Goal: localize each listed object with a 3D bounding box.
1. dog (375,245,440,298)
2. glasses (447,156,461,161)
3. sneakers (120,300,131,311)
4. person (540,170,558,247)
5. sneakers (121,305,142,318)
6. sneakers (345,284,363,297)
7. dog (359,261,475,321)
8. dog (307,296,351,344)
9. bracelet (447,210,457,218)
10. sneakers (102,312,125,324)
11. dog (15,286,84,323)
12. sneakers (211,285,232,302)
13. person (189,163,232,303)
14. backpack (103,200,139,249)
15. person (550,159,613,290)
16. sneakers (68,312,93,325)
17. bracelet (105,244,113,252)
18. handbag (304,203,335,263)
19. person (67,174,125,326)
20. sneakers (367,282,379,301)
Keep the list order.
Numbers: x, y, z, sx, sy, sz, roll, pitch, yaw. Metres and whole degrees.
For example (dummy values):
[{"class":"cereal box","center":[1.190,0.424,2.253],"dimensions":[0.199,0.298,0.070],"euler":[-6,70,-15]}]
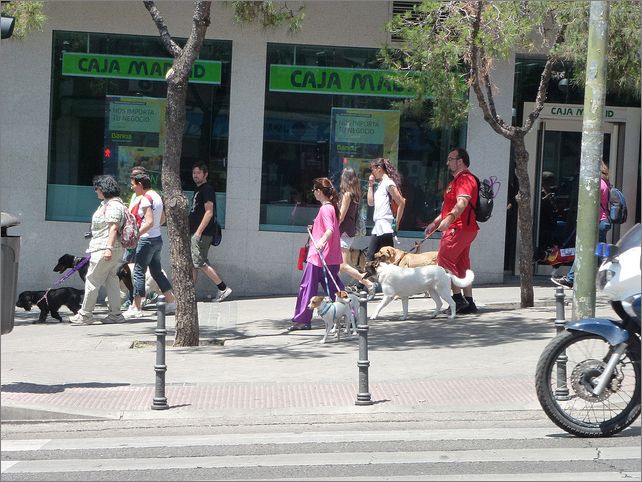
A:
[{"class":"dog","center":[1.374,0.336,14.994],"dimensions":[1.092,0.549,0.391],"euler":[2,2,-1]},{"class":"glasses","center":[2.059,-1.260,14.537],"dimensions":[0.154,0.049,0.157],"euler":[2,4,2]},{"class":"sneakers","center":[-3.299,1.100,16.020],"dimensions":[0.119,0.093,0.155],"euler":[0,12,0]},{"class":"person","center":[4.567,-0.644,18.959],"dimensions":[0.342,1.552,0.299],"euler":[-1,2,19]},{"class":"sneakers","center":[-3.069,1.186,15.415],"dimensions":[0.358,0.177,0.135],"euler":[1,2,2]},{"class":"sneakers","center":[0.568,0.861,16.375],"dimensions":[0.139,0.189,0.435],"euler":[2,5,13]},{"class":"dog","center":[1.471,0.741,14.406],"dimensions":[1.660,0.956,0.479],"euler":[0,8,8]},{"class":"dog","center":[0.185,1.088,13.493],"dimensions":[0.333,0.720,0.807],"euler":[9,14,41]},{"class":"bracelet","center":[2.012,-0.393,14.357],"dimensions":[0.160,0.135,0.239],"euler":[0,11,4]},{"class":"sneakers","center":[-3.301,1.241,15.069],"dimensions":[0.386,0.199,0.143],"euler":[0,5,-9]},{"class":"dog","center":[-4.282,1.033,15.274],"dimensions":[1.229,0.560,0.278],"euler":[-8,10,-15]},{"class":"sneakers","center":[-1.744,0.959,16.764],"dimensions":[0.208,0.445,0.175],"euler":[33,44,-13]},{"class":"person","center":[-1.929,-0.071,16.326],"dimensions":[0.652,2.477,0.665],"euler":[-3,11,-9]},{"class":"backpack","center":[-3.158,-0.290,14.883],"dimensions":[0.671,0.677,0.418],"euler":[13,22,15]},{"class":"person","center":[3.898,-0.194,14.186],"dimensions":[0.697,0.823,2.248],"euler":[18,35,20]},{"class":"sneakers","center":[-3.824,1.235,14.999],"dimensions":[0.333,0.249,0.172],"euler":[6,2,9]},{"class":"bracelet","center":[-3.246,0.121,14.494],"dimensions":[0.115,0.082,0.092],"euler":[-3,11,-14]},{"class":"handbag","center":[0.061,-0.114,13.928],"dimensions":[0.472,0.903,0.789],"euler":[4,7,0]},{"class":"person","center":[-3.433,0.168,14.825],"dimensions":[0.755,2.318,0.683],"euler":[6,13,32]},{"class":"sneakers","center":[0.870,0.792,15.668],"dimensions":[0.184,0.458,0.161],"euler":[7,21,-2]}]
